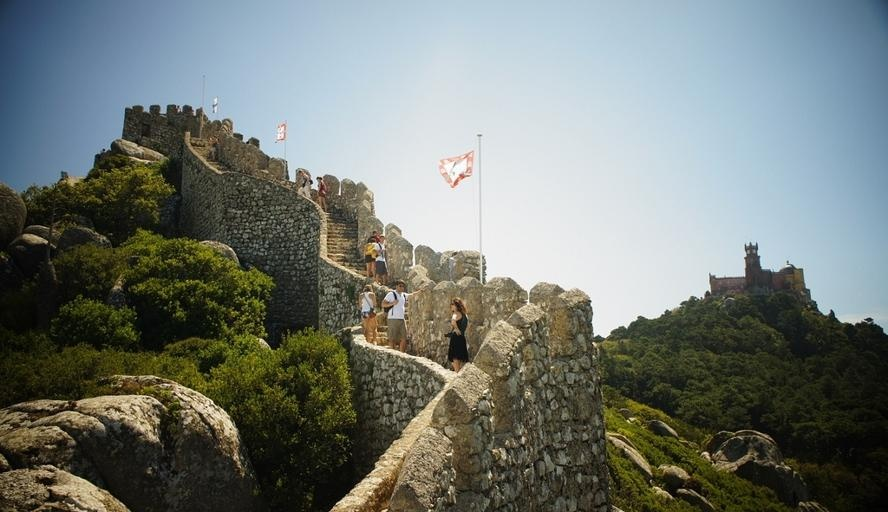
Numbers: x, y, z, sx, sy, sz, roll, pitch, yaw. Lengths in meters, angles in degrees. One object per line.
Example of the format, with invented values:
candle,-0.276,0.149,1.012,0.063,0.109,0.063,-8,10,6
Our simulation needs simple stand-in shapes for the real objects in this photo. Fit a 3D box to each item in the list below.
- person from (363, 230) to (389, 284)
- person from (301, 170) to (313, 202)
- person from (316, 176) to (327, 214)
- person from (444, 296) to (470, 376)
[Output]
person,-3.317,0.107,34.763,0.924,2.569,1.348,9,-14,-21
person,-7.939,-4.156,40.636,0.722,2.006,1.303,7,-13,-13
person,-6.969,-3.549,40.424,0.630,2.275,1.273,6,-13,-11
person,0.547,3.175,28.227,0.895,2.859,1.355,4,-13,0
